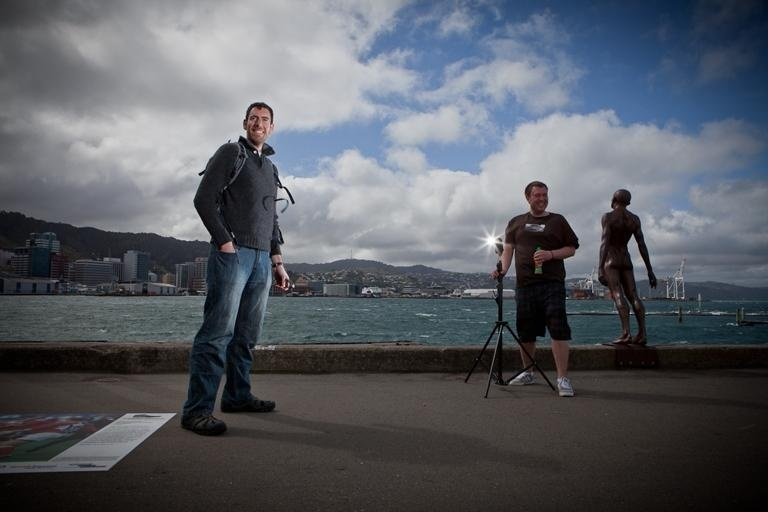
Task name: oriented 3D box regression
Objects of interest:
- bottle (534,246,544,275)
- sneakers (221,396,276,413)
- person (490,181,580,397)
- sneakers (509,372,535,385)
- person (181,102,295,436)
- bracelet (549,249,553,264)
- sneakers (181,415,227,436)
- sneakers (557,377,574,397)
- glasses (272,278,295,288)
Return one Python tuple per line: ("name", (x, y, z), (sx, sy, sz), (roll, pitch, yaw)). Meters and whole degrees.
("bottle", (1.864, 0.050, 5.788), (0.097, 0.350, 0.220), (-1, -2, 17))
("sneakers", (-1.324, 1.437, 4.722), (0.536, 0.184, 0.184), (0, -16, -13))
("person", (1.808, 0.309, 5.780), (0.970, 2.458, 0.703), (-1, -2, 24))
("sneakers", (1.690, 1.508, 5.887), (0.321, 0.129, 0.133), (1, -7, -12))
("person", (-1.364, 0.008, 4.504), (0.544, 3.004, 1.001), (-1, -2, 33))
("bracelet", (2.004, -0.003, 5.729), (0.051, 0.107, 0.128), (-1, -2, 19))
("sneakers", (-1.530, 1.416, 4.055), (0.372, 0.148, 0.149), (-2, -8, 17))
("sneakers", (2.021, 1.446, 5.306), (0.172, 0.176, 0.180), (-1, -2, 21))
("glasses", (-1.059, 0.298, 5.017), (0.107, 0.105, 0.297), (-12, -7, -1))
